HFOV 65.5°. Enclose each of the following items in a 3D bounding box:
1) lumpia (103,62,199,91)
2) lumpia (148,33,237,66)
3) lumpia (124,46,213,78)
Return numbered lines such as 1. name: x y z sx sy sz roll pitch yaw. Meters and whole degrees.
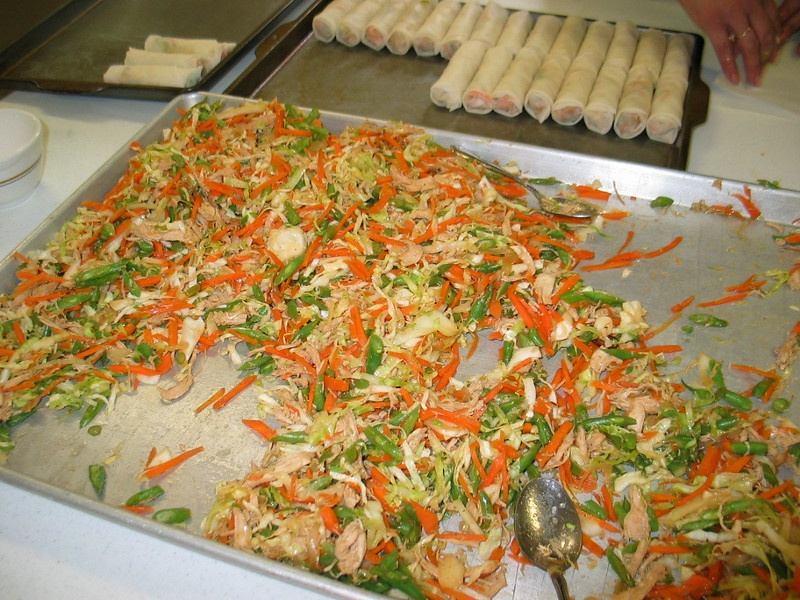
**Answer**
1. lumpia: -1.391 -1.196 3.373 0.573 0.087 0.261 6 49 16
2. lumpia: -1.228 -1.465 3.595 0.390 0.117 0.231 5 34 10
3. lumpia: -1.309 -1.333 3.455 0.507 0.186 0.137 8 40 10
